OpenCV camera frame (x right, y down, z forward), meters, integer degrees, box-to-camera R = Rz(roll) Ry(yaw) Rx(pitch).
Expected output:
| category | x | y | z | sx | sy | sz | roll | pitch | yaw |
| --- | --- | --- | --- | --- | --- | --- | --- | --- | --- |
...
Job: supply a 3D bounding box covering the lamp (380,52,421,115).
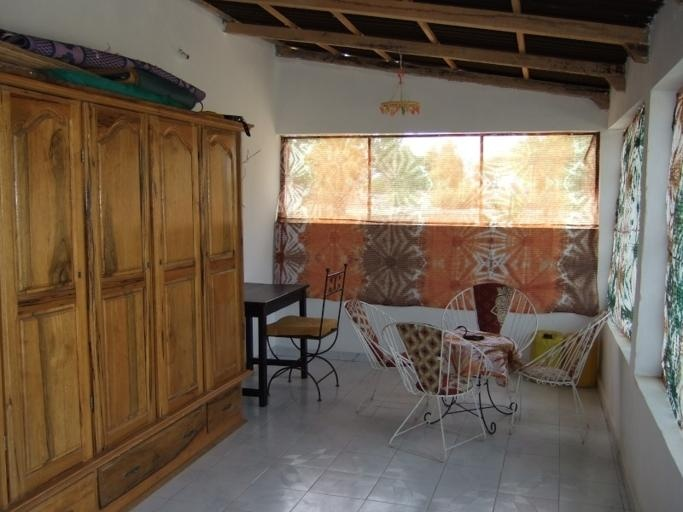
| category | x | y | z | sx | sy | sz | roll | pitch | yaw |
| --- | --- | --- | --- | --- | --- | --- | --- | --- | --- |
| lamp | 0.717 | -1.855 | 6.011 | 0.523 | 0.895 | 0.531 | 2 | 18 | 19 |
